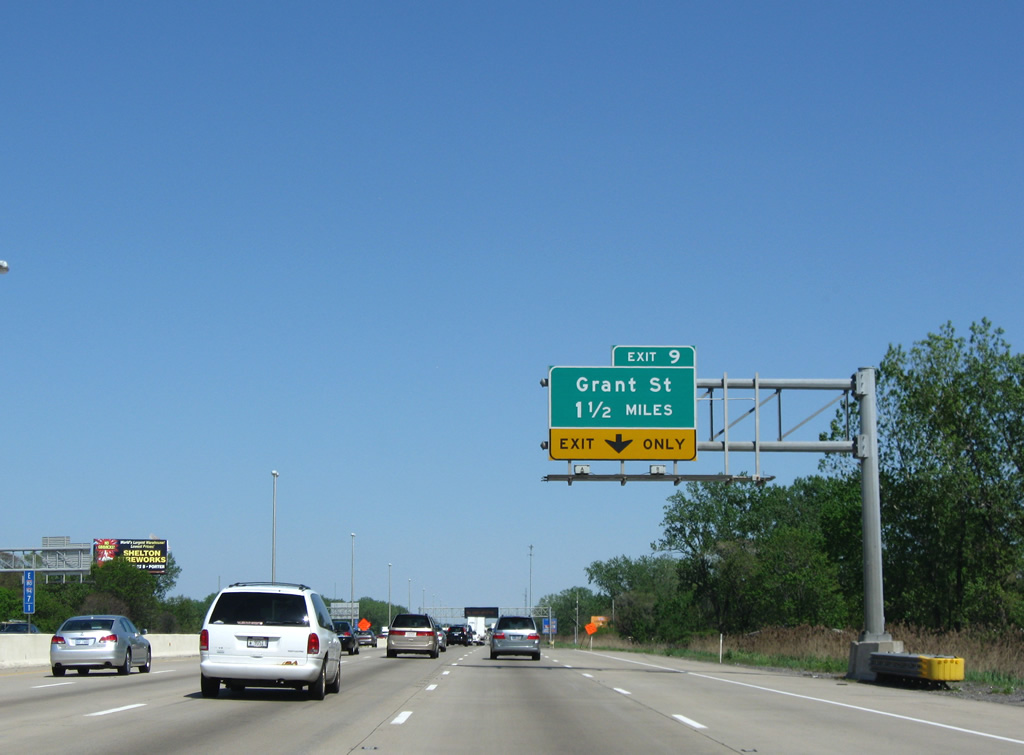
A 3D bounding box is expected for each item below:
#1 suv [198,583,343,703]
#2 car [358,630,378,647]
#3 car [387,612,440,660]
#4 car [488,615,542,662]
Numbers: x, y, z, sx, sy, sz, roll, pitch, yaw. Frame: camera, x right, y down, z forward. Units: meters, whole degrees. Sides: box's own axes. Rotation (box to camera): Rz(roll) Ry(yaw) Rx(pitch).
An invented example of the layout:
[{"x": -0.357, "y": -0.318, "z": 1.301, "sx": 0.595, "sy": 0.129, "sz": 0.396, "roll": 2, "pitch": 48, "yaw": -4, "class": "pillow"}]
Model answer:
[{"x": -7.014, "y": 8.048, "z": 46.536, "sx": 3.384, "sy": 3.601, "sz": 7.204, "roll": 1, "pitch": -10, "yaw": -1, "class": "suv"}, {"x": -10.072, "y": 18.177, "z": 107.981, "sx": 1.045, "sy": 1.058, "sz": 2.578, "roll": 1, "pitch": -1, "yaw": 3, "class": "car"}, {"x": -4.584, "y": 11.694, "z": 70.979, "sx": 2.278, "sy": 2.012, "sz": 2.788, "roll": 2, "pitch": -14, "yaw": -11, "class": "car"}, {"x": 0.090, "y": 11.134, "z": 66.841, "sx": 1.984, "sy": 1.842, "sz": 3.028, "roll": 1, "pitch": -14, "yaw": -5, "class": "car"}]
